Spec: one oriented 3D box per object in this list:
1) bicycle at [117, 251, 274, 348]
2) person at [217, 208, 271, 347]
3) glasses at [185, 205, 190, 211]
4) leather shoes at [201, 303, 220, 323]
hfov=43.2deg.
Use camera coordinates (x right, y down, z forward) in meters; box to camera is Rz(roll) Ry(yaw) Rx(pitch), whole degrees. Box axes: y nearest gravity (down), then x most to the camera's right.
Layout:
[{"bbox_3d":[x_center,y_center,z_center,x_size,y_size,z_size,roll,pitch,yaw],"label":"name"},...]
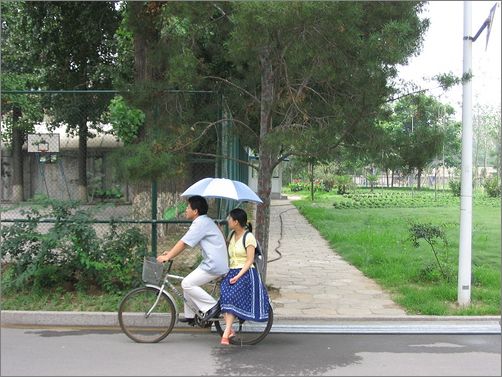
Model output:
[{"bbox_3d":[-0.913,1.801,10.427,2.490,1.676,1.107,2,11,-1],"label":"bicycle"},{"bbox_3d":[-0.099,1.389,10.226,0.805,2.050,0.665,0,10,-5],"label":"person"},{"bbox_3d":[-1.156,0.347,11.560,0.068,0.119,0.093,4,-8,8],"label":"glasses"},{"bbox_3d":[-0.692,2.003,10.245,0.425,0.148,0.172,-42,29,8],"label":"leather shoes"}]
